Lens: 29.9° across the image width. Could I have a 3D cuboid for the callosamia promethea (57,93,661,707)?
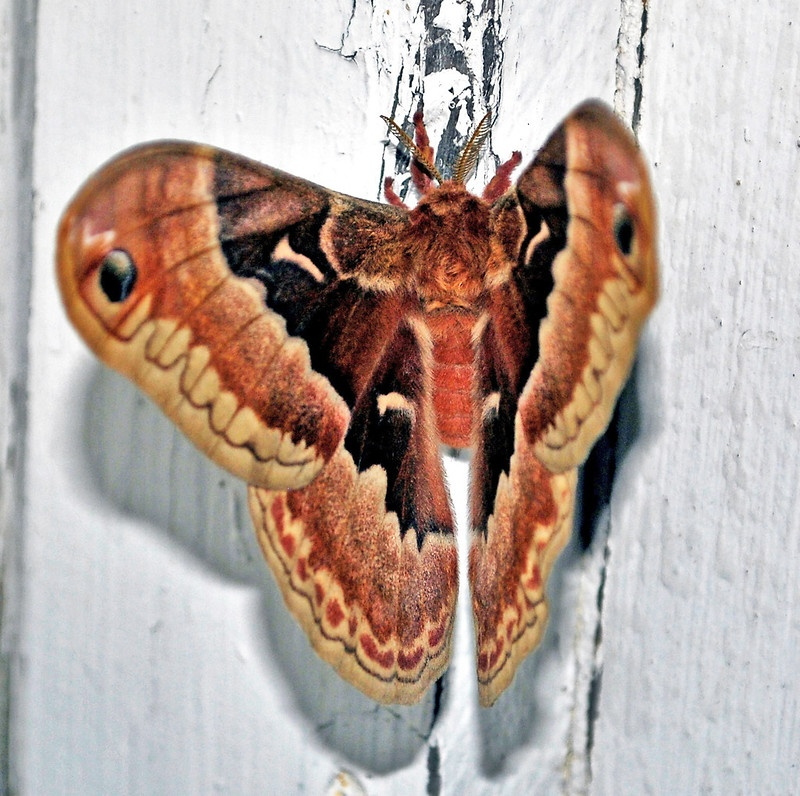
[{"bbox_3d":[-0.057,-0.045,2.477,0.893,0.992,0.393,3,14,-5],"label":"callosamia promethea"}]
